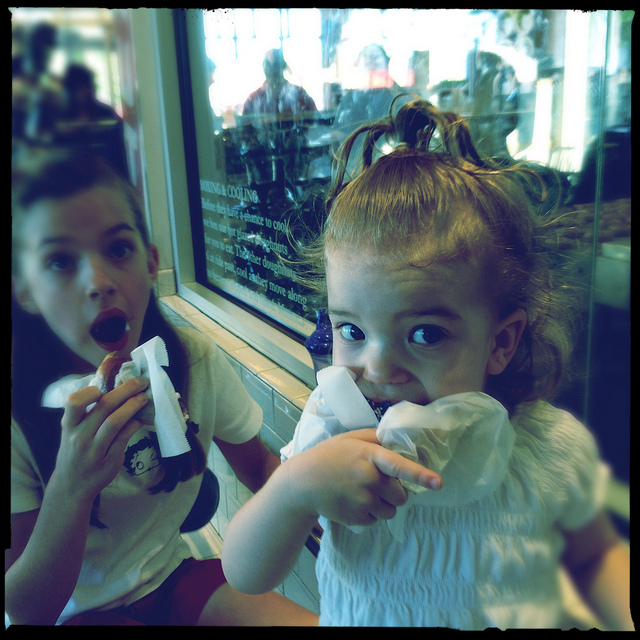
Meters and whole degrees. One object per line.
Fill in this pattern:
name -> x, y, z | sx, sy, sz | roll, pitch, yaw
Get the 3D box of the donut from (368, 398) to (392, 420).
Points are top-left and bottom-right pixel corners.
donut -> 0.084, 0.120, 0.851 | 0.028, 0.028, 0.021 | 0, 9, 2

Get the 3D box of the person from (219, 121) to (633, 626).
person -> 0.158, 0.102, 0.882 | 0.570, 0.736, 0.304 | -9, 16, -24

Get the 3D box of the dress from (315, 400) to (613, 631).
dress -> 0.210, 0.164, 1.013 | 0.477, 0.486, 0.295 | -2, 7, 20

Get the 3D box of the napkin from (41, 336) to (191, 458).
napkin -> -0.339, 0.141, 1.084 | 0.204, 0.214, 0.088 | -21, -4, 3

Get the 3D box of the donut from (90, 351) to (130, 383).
donut -> -0.359, 0.081, 1.075 | 0.007, 0.048, 0.067 | 11, 20, 41
